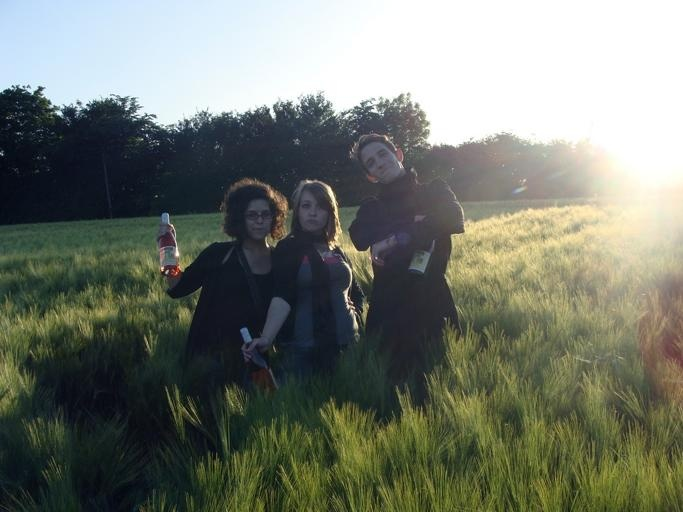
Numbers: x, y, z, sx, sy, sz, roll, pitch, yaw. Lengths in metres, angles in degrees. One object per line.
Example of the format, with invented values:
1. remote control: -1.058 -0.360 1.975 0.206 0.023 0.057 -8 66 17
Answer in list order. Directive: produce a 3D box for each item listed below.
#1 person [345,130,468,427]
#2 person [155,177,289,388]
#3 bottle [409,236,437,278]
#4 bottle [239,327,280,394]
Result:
1. person: 0.502 0.117 4.011 0.632 2.128 0.711 -4 18 3
2. person: -0.941 0.581 4.489 1.108 2.670 0.679 -3 20 -19
3. bottle: 0.592 0.013 3.648 0.242 0.243 0.116 -2 5 -41
4. bottle: -0.584 0.740 3.674 0.257 0.436 0.681 1 4 -8
